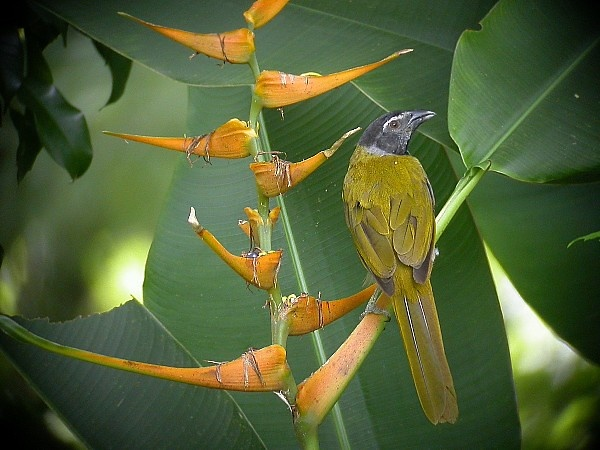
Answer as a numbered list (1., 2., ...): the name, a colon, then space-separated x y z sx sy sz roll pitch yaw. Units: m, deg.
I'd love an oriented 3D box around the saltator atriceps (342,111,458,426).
1. saltator atriceps: 0.237 0.086 2.145 0.260 0.859 0.339 -10 -22 20
